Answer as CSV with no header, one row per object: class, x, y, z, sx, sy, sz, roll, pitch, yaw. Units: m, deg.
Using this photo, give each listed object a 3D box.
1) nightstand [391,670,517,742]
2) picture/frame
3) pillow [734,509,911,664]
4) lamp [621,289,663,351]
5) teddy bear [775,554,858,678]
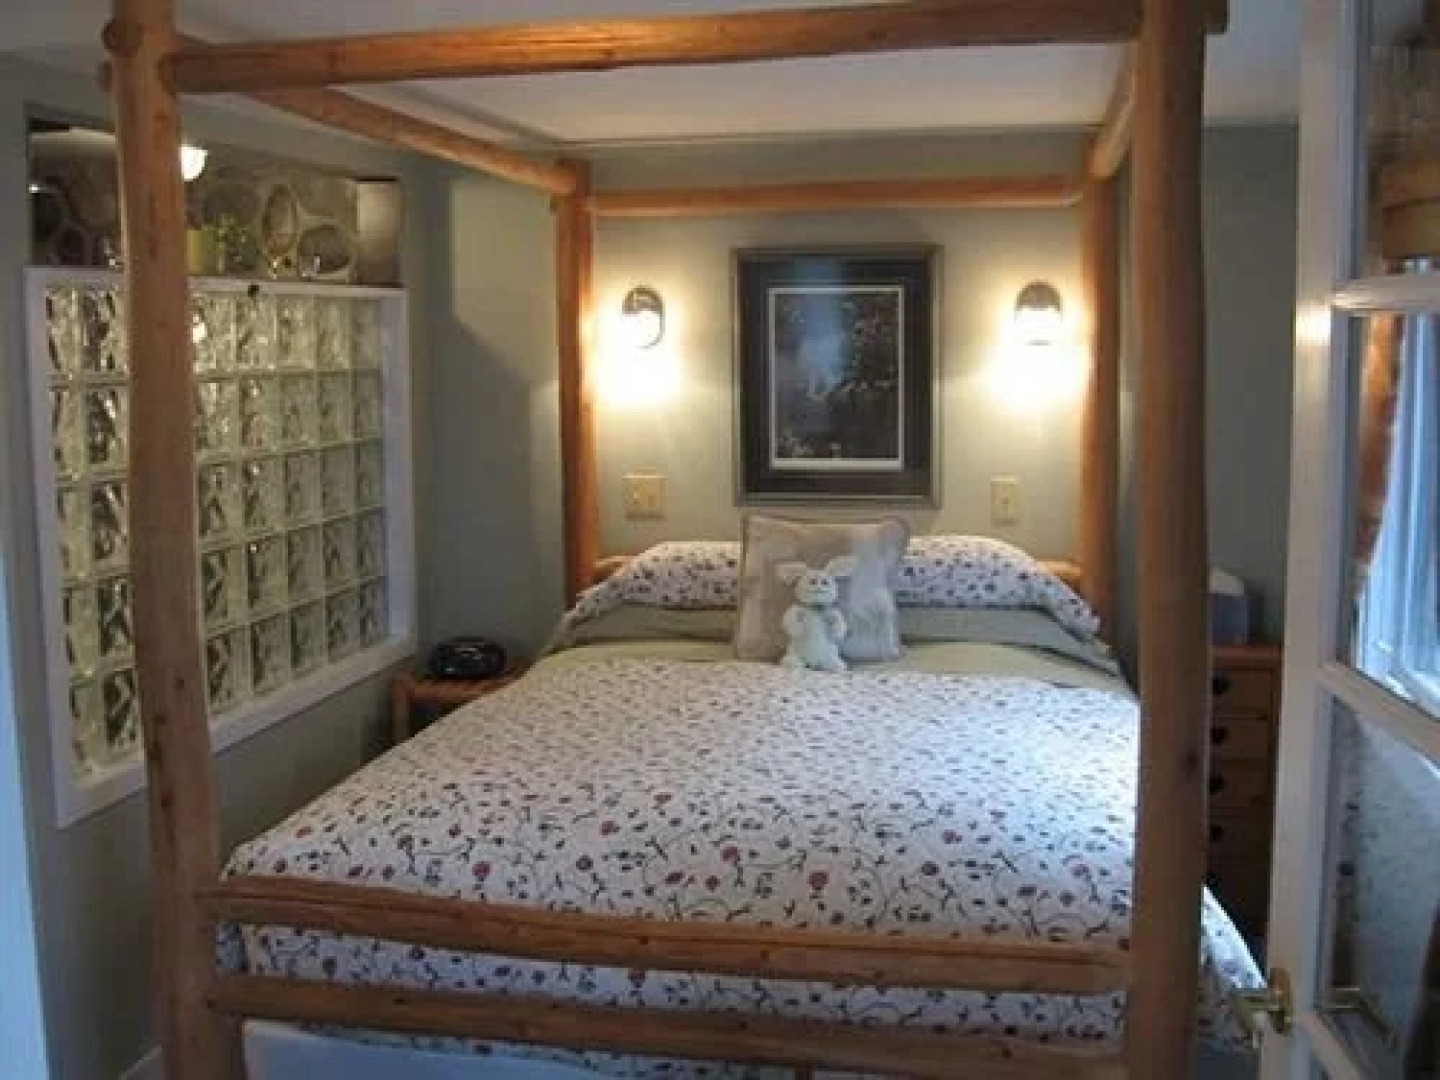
nightstand,-1.020,0.572,4.558,0.327,0.337,0.329,2,4,27
picture/frame,0.464,-0.650,4.463,0.978,1.231,0.080,0,5,7
pillow,0.329,0.170,3.902,0.569,0.534,0.219,1,-5,7
lamp,-0.293,-0.841,4.546,0.211,0.279,0.147,1,2,6
teddy bear,0.307,0.253,3.709,0.325,0.464,0.199,1,-7,1
